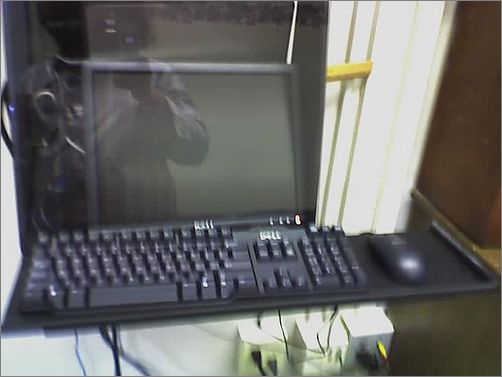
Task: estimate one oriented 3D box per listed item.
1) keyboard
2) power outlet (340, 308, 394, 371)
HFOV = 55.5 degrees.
[{"bbox_3d":[-0.101,0.139,0.941,0.637,0.089,0.210,-4,25,-8],"label":"keyboard"},{"bbox_3d":[0.233,0.312,0.964,0.114,0.149,0.075,0,-5,-16],"label":"power outlet"}]
